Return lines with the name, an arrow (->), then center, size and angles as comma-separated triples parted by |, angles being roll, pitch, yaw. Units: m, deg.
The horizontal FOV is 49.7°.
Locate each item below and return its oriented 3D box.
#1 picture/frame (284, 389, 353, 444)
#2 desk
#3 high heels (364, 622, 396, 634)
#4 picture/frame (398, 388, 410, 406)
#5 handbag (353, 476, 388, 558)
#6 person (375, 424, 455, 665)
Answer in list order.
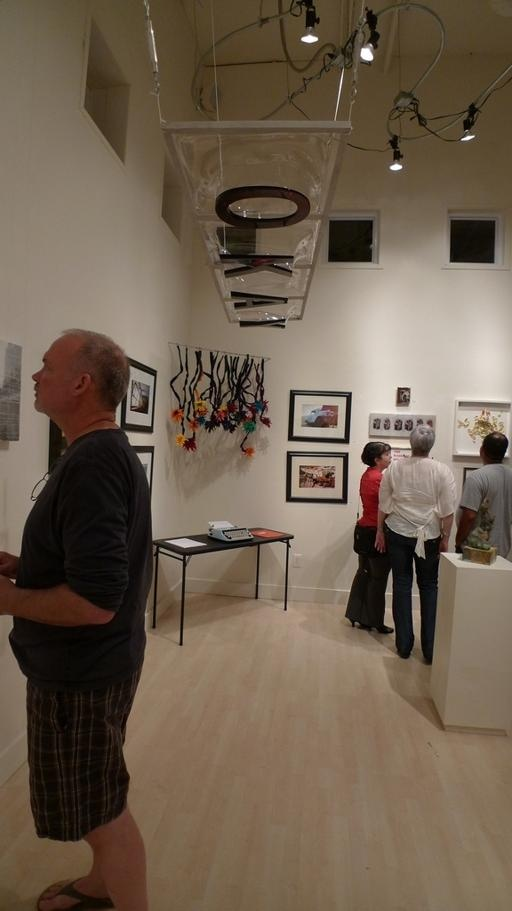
picture/frame -> 0.605, -0.361, 5.080 | 0.380, 0.426, 0.031 | 2, -1, 3
desk -> -0.263, 0.968, 4.339 | 1.063, 0.575, 1.693 | 2, -1, 3
high heels -> 0.951, 1.348, 4.244 | 0.231, 0.124, 0.089 | -3, 0, 7
picture/frame -> 1.337, -0.534, 4.989 | 0.119, 0.206, 0.021 | 1, 0, 3
handbag -> 0.882, 0.469, 4.260 | 0.219, 0.653, 0.281 | 4, 2, -29
person -> 1.030, 0.584, 3.707 | 0.571, 1.549, 0.284 | 1, -1, 43
